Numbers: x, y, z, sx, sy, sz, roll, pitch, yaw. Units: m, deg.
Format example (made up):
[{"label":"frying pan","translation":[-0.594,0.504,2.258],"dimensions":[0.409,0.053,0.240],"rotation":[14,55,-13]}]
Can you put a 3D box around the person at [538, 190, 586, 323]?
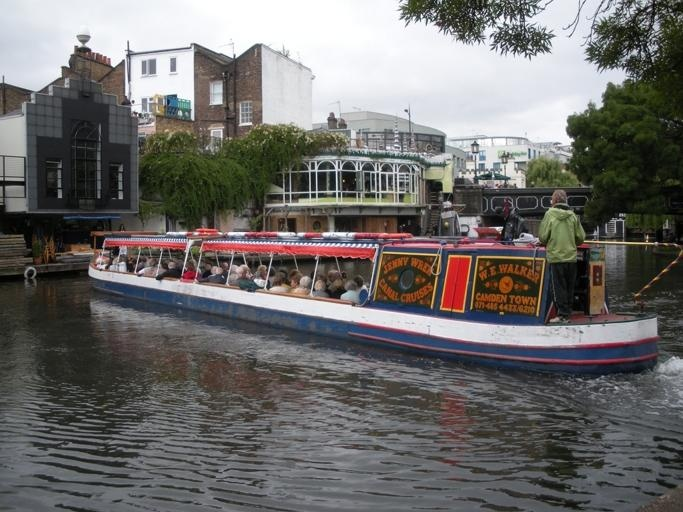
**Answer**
[{"label":"person","translation":[4.412,0.028,15.649],"dimensions":[0.858,2.681,0.599],"rotation":[-1,12,1]}]

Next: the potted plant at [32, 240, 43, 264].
[{"label":"potted plant","translation":[-14.527,-0.142,37.241],"dimensions":[0.488,0.978,1.233],"rotation":[-5,12,-18]}]

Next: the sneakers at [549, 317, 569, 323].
[{"label":"sneakers","translation":[4.404,1.307,15.746],"dimensions":[0.373,0.145,0.123],"rotation":[2,0,19]}]

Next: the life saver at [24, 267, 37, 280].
[{"label":"life saver","translation":[-14.156,0.836,35.399],"dimensions":[0.541,0.644,0.234],"rotation":[6,0,-16]}]
